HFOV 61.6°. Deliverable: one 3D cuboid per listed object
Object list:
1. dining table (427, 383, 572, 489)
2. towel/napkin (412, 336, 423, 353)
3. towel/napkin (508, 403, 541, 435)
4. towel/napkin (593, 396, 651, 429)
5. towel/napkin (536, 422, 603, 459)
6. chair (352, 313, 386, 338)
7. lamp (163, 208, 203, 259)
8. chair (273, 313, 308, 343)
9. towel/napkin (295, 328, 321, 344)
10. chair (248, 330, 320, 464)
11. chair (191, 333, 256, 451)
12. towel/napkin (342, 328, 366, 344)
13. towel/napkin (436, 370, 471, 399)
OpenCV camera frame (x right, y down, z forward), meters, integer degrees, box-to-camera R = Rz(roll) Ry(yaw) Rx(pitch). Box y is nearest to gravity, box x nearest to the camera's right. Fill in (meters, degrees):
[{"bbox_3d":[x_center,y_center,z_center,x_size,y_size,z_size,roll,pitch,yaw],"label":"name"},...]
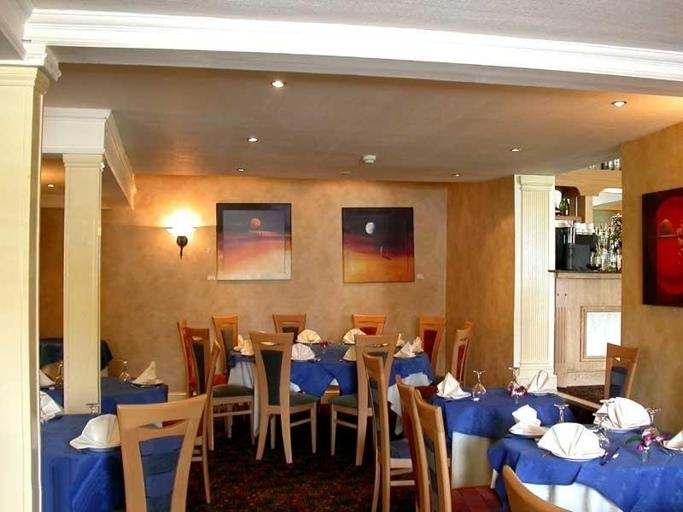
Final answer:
[{"bbox_3d":[1.271,1.333,4.636,0.781,0.716,0.781,0,-1,17],"label":"dining table"},{"bbox_3d":[0.857,1.026,6.602,0.109,0.161,0.320,-1,-6,5],"label":"towel/napkin"},{"bbox_3d":[1.233,1.119,3.846,0.199,0.076,0.201,9,7,28],"label":"towel/napkin"},{"bbox_3d":[1.862,1.090,3.857,0.315,0.084,0.255,-15,21,-36],"label":"towel/napkin"},{"bbox_3d":[1.386,1.110,3.457,0.268,0.061,0.215,-3,32,-8],"label":"towel/napkin"},{"bbox_3d":[0.376,0.979,8.061,0.321,0.430,0.308,-1,-10,9],"label":"chair"},{"bbox_3d":[-2.242,-0.309,7.971,0.685,0.691,0.310,2,-8,-18],"label":"lamp"},{"bbox_3d":[-0.727,1.004,8.117,0.392,0.603,0.422,1,-6,-4],"label":"chair"},{"bbox_3d":[-0.391,1.021,7.174,0.222,0.085,0.217,-3,7,-37],"label":"towel/napkin"},{"bbox_3d":[-0.564,1.395,5.795,0.603,1.254,0.644,-1,-5,9],"label":"chair"},{"bbox_3d":[-1.277,1.463,6.257,0.794,1.170,0.767,-6,-11,18],"label":"chair"},{"bbox_3d":[0.111,1.038,7.456,0.263,0.121,0.338,2,-3,6],"label":"towel/napkin"},{"bbox_3d":[0.884,1.047,4.661,0.183,0.113,0.236,0,-2,2],"label":"towel/napkin"}]
